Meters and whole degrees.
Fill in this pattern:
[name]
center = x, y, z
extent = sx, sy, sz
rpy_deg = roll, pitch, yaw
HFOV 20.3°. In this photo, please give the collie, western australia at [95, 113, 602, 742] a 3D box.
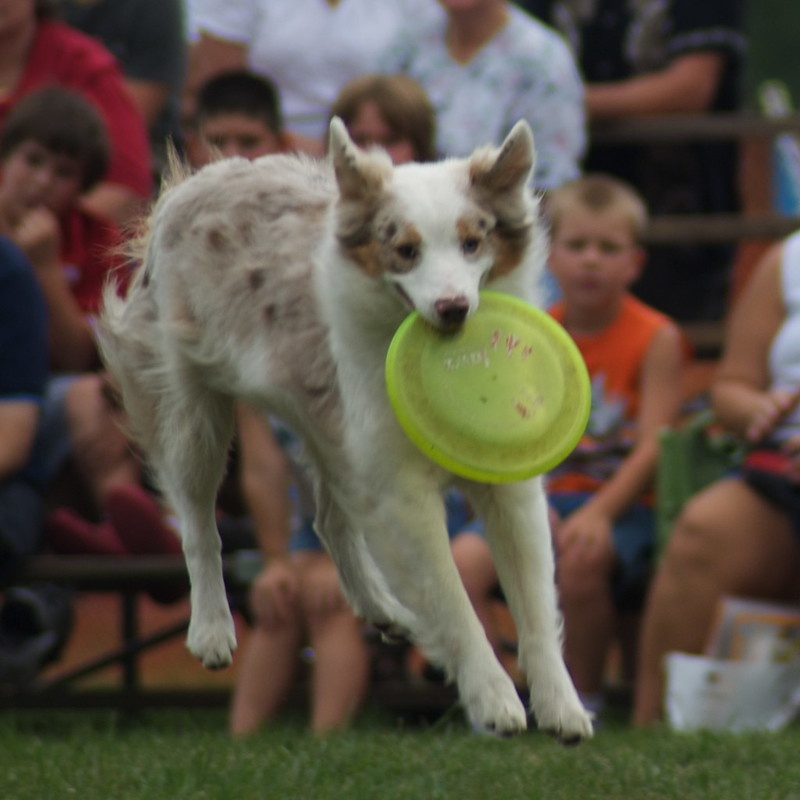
[collie, western australia]
center = -0.227, -0.022, 7.249
extent = 0.822, 1.936, 2.783
rpy_deg = -17, 12, -24
